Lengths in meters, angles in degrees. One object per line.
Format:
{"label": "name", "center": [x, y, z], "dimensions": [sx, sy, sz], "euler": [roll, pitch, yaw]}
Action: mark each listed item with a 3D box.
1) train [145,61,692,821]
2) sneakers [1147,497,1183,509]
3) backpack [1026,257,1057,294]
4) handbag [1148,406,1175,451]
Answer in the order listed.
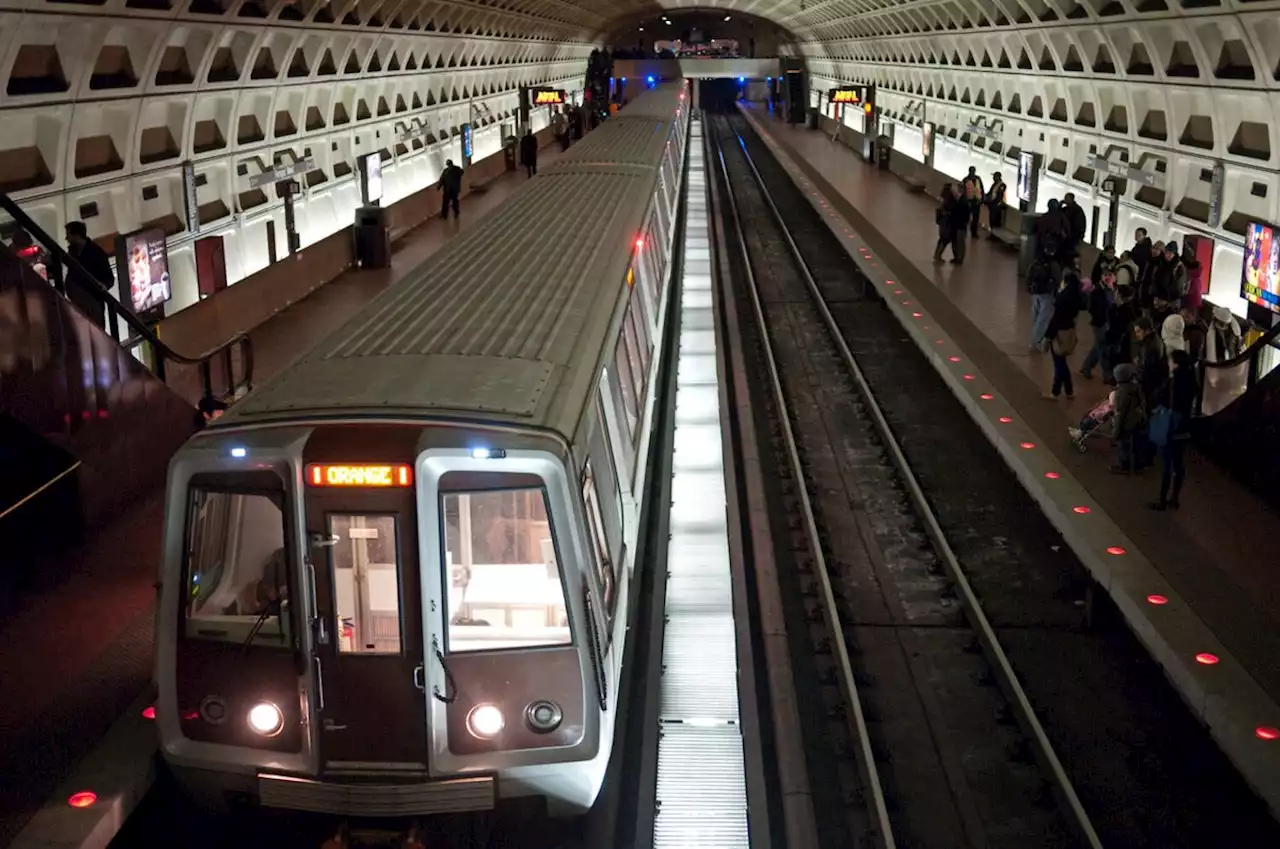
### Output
{"label": "train", "center": [-1.484, 0.323, 7.836], "dimensions": [2.924, 4.909, 4.105], "euler": [-1, -4, 9]}
{"label": "sneakers", "center": [6.303, 0.939, 10.851], "dimensions": [0.454, 0.120, 0.149], "euler": [1, -4, -25]}
{"label": "backpack", "center": [6.843, -2.546, 15.382], "dimensions": [0.398, 0.588, 0.581], "euler": [0, -9, 43]}
{"label": "handbag", "center": [6.104, 0.010, 10.533], "dimensions": [0.149, 0.405, 0.315], "euler": [4, 0, -14]}
